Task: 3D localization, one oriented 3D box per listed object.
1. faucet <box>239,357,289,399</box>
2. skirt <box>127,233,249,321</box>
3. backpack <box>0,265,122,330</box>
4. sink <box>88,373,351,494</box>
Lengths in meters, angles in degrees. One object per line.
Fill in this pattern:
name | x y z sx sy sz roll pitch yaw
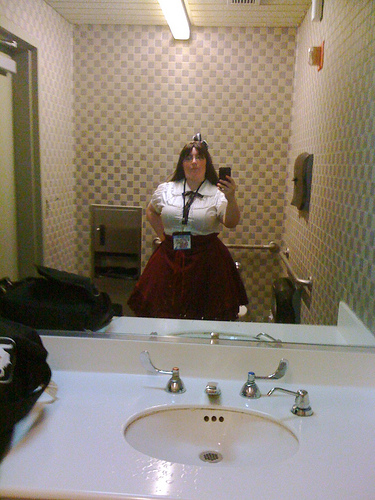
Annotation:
faucet | 0.191 0.315 0.964 0.112 0.095 0.125 4 5 44
skirt | 0.009 0.076 1.075 0.314 0.247 0.056 1 3 9
backpack | -0.372 0.155 1.150 0.281 0.212 0.110 5 -5 1
sink | 0.067 0.395 0.789 0.323 0.090 0.238 1 30 2
